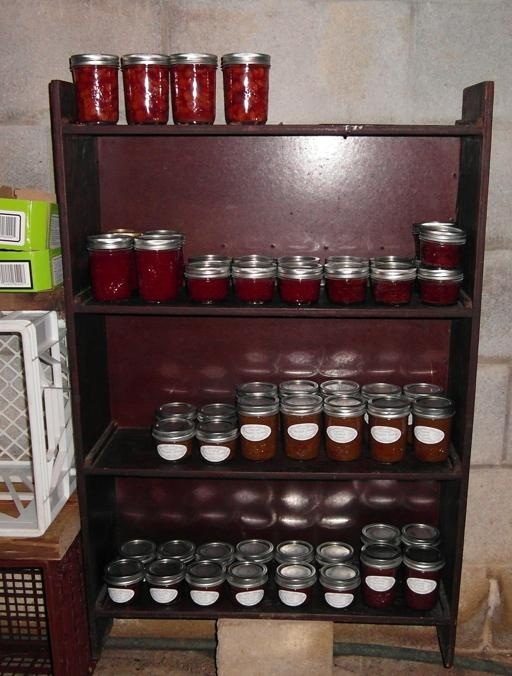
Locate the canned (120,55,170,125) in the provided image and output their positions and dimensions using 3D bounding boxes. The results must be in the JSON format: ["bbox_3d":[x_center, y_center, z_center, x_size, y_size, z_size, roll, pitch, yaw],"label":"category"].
[{"bbox_3d":[-0.259,-0.594,1.518,0.112,0.156,0.076,-5,20,-8],"label":"canned"}]

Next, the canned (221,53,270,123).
[{"bbox_3d":[-0.016,-0.594,1.517,0.119,0.159,0.126,-6,20,-11],"label":"canned"}]

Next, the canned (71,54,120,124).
[{"bbox_3d":[-0.378,-0.608,1.543,0.117,0.163,0.107,-10,21,-21],"label":"canned"}]
